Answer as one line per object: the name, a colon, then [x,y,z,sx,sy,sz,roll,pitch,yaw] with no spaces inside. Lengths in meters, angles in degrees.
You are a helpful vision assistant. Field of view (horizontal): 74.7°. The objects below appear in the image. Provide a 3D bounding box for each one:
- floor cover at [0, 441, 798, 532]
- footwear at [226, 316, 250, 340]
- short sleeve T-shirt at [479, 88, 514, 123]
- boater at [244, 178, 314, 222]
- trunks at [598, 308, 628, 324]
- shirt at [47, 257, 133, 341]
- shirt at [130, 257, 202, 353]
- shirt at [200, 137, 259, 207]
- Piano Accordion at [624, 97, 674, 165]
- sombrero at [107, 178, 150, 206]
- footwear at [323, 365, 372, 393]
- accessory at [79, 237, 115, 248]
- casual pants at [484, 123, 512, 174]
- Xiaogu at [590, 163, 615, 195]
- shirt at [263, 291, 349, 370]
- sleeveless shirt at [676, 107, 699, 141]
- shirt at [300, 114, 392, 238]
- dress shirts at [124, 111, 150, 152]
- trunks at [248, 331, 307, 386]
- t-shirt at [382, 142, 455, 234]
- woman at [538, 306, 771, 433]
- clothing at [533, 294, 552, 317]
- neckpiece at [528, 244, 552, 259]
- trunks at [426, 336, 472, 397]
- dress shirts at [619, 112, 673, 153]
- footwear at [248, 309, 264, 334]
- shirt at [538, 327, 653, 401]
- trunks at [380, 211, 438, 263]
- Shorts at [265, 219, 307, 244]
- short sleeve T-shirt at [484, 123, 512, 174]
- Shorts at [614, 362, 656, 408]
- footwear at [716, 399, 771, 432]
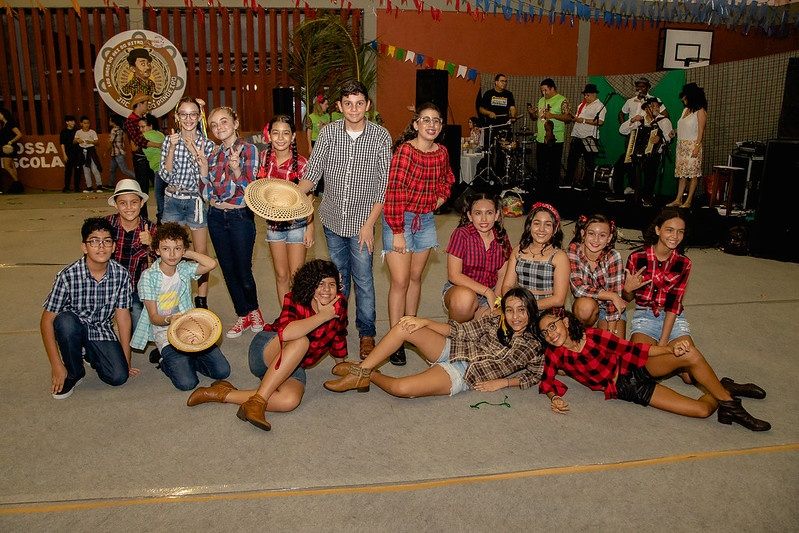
floor cover: [-0.055,1.420,3.302,4.255,0.166,0.054,-5,-3,2]
footwear: [-1.558,0.594,5.087,0.111,0.163,0.342,6,12,17]
short sleeve T-shirt: [2.104,-3.485,11.415,0.867,0.994,0.520,0,5,0]
boater: [-0.983,-0.487,4.300,0.523,0.400,0.557,1,20,4]
trunks: [1.848,0.435,4.573,0.129,0.118,0.161,-5,12,-43]
shirt: [-2.453,0.285,4.195,0.519,0.517,0.284,16,10,-36]
shirt: [-1.919,0.323,4.298,0.704,0.849,0.428,-7,12,-44]
shirt: [-1.530,-0.842,4.728,0.487,0.627,0.382,19,14,14]
Piano Accordion: [4.676,-2.693,10.050,0.905,1.324,0.449,4,-9,33]
sombrero: [-2.377,-0.634,4.664,0.355,0.172,0.369,-4,-22,-13]
footwear: [-0.450,0.915,4.158,0.462,0.271,0.166,3,36,-11]
accessory: [-2.348,-0.185,4.093,0.196,0.090,0.088,-8,21,-21]
casual pants: [2.112,-2.602,11.339,0.699,1.035,0.632,-14,29,-17]
Xiaogu: [4.026,-1.707,10.418,0.439,0.566,0.550,4,-16,23]
shirt: [-0.704,0.523,4.087,0.433,0.526,0.372,28,40,-38]
sleeveless shirt: [4.923,-2.419,8.996,0.165,0.481,0.408,-10,21,-26]
shirt: [-0.439,-0.745,4.520,0.740,0.956,0.300,-2,19,-6]
dress shirts: [-4.376,-2.169,8.746,0.550,0.762,0.294,-6,12,-28]
trunks: [-1.021,0.726,4.125,0.301,0.195,0.516,0,22,-32]
t-shirt: [0.130,-0.691,4.536,0.602,0.732,0.200,-10,21,-25]
woman: [1.864,0.950,4.028,1.338,0.599,0.885,26,56,34]
clothing: [1.241,0.335,4.530,0.174,0.181,0.050,1,3,10]
neckpiece: [1.218,-0.132,4.611,0.121,0.089,0.164,16,51,29]
trunks: [0.358,0.835,4.166,0.373,0.169,0.405,-6,57,-3]
dress shirts: [4.748,-2.572,10.075,0.873,0.912,0.363,22,-13,38]
footwear: [-1.393,0.544,5.140,0.114,0.140,0.346,-1,5,-9]
shirt: [1.590,0.939,4.188,0.874,0.578,0.518,-15,-12,27]
trunks: [0.091,-0.306,4.736,0.538,0.528,0.335,-2,6,-17]
Shorts: [-1.001,-0.306,4.694,0.317,0.248,0.214,-1,5,7]
short sleeve T-shirt: [2.112,-2.602,11.339,0.699,1.035,0.632,-14,29,-17]
Shorts: [1.810,0.932,4.052,0.285,0.324,0.131,-4,25,7]
footwear: [2.473,1.091,3.895,0.395,0.207,0.163,3,20,16]
